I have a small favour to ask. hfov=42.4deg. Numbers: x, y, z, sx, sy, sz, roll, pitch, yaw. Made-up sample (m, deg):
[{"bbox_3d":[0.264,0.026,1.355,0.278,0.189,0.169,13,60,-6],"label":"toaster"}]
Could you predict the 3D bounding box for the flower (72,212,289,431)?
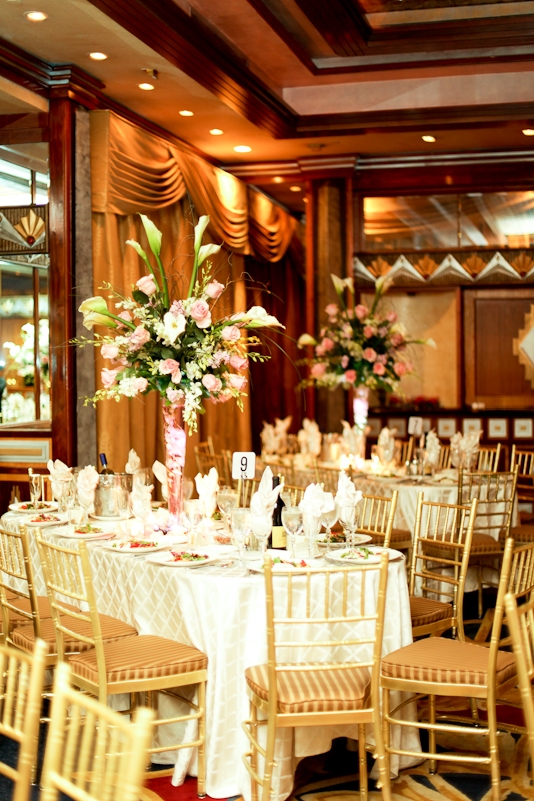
[{"bbox_3d":[-0.362,-0.366,3.236,0.688,0.869,0.809,12,20,10],"label":"flower"}]
